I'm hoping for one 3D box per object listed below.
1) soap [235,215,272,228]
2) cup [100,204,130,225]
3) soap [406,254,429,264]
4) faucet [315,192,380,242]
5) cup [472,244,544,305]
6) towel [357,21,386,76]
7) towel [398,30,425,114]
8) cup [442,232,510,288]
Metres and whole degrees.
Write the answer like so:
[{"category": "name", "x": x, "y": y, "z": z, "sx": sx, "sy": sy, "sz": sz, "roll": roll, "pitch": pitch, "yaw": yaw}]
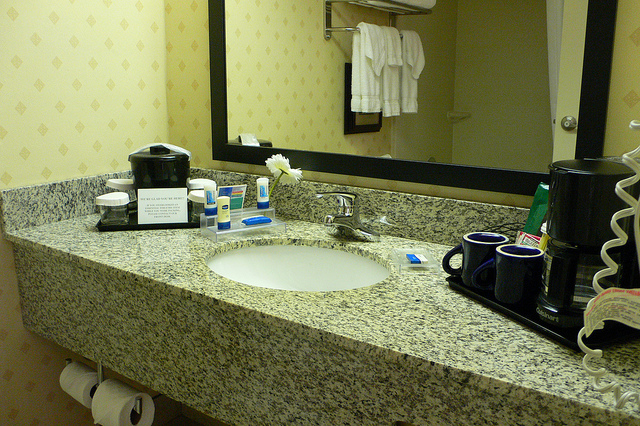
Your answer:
[{"category": "soap", "x": -0.247, "y": 0.023, "z": 1.872, "sx": 0.098, "sy": 0.022, "sz": 0.051, "roll": -8, "pitch": 16, "yaw": -32}, {"category": "cup", "x": -0.777, "y": 0.008, "z": 1.918, "sx": 0.089, "sy": 0.072, "sz": 0.090, "roll": 2, "pitch": 7, "yaw": 0}, {"category": "soap", "x": 0.308, "y": 0.144, "z": 1.598, "sx": 0.059, "sy": 0.017, "sz": 0.061, "roll": -2, "pitch": 12, "yaw": -8}, {"category": "faucet", "x": 0.106, "y": -0.004, "z": 1.837, "sx": 0.303, "sy": 0.175, "sz": 0.116, "roll": -6, "pitch": 14, "yaw": -38}, {"category": "cup", "x": 0.509, "y": 0.162, "z": 1.400, "sx": 0.206, "sy": 0.134, "sz": 0.121, "roll": 5, "pitch": 6, "yaw": 22}, {"category": "towel", "x": 0.195, "y": -0.574, "z": 1.772, "sx": 0.062, "sy": 0.157, "sz": 0.161, "roll": -3, "pitch": 9, "yaw": 19}, {"category": "towel", "x": 0.306, "y": -0.477, "z": 1.706, "sx": 0.039, "sy": 0.275, "sz": 0.093, "roll": -12, "pitch": 17, "yaw": -41}, {"category": "cup", "x": 0.425, "y": 0.139, "z": 1.443, "sx": 0.152, "sy": 0.121, "sz": 0.086, "roll": -2, "pitch": 16, "yaw": -1}]
